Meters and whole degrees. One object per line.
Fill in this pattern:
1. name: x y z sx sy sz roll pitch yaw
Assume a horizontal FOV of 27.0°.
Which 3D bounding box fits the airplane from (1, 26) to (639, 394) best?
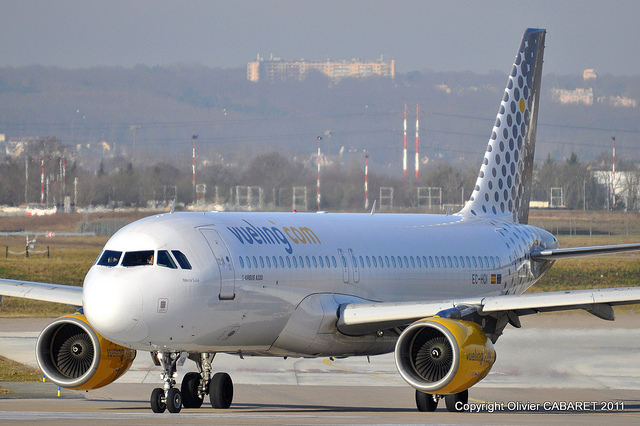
1. airplane: 0.908 2.492 51.447 17.289 9.509 21.381 5 -6 -44
